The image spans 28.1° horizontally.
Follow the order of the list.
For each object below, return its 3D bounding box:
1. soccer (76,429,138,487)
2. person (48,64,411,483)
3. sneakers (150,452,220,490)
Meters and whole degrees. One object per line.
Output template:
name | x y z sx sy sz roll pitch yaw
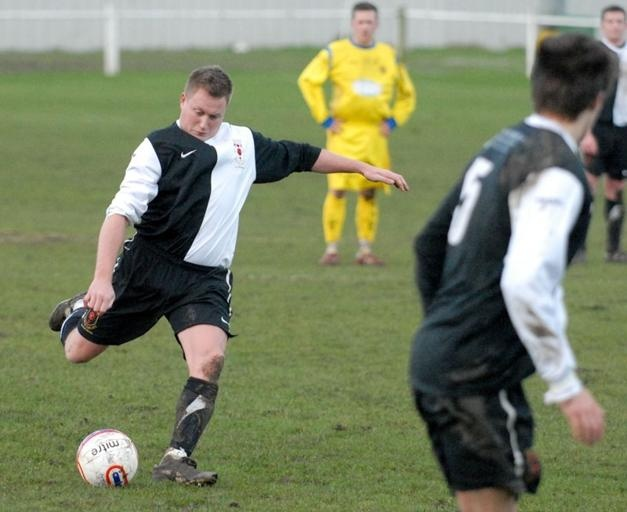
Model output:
soccer | -1.128 1.089 6.897 0.313 0.283 0.302 -21 20 -20
person | -0.664 0.056 7.065 1.419 2.243 0.909 1 11 -11
sneakers | -0.700 1.164 6.851 0.414 0.183 0.139 -1 -14 28
